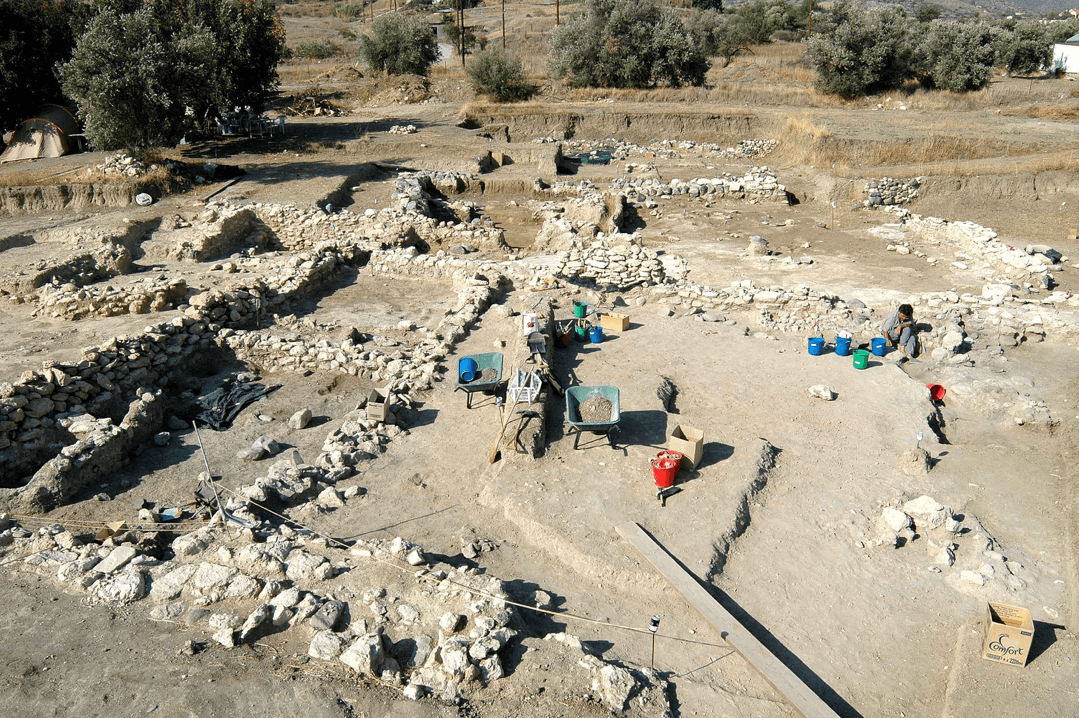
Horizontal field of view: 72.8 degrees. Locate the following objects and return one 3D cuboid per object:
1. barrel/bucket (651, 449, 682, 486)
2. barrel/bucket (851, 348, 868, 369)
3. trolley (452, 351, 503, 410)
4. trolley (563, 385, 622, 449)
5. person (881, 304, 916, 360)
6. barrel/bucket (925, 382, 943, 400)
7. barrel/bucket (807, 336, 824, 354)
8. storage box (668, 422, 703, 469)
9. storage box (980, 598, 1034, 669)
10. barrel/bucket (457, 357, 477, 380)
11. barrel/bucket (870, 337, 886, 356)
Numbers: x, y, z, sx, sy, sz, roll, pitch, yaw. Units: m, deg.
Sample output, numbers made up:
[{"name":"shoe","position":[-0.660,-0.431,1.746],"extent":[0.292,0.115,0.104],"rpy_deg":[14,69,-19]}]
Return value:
[{"name":"barrel/bucket","position":[2.390,2.079,13.969],"extent":[0.487,0.552,0.733],"rpy_deg":[12,27,26]},{"name":"barrel/bucket","position":[7.342,0.011,16.577],"extent":[0.388,0.378,0.446],"rpy_deg":[-2,9,-3]},{"name":"trolley","position":[-1.272,0.422,16.154],"extent":[0.983,0.665,1.234],"rpy_deg":[-3,42,1]},{"name":"trolley","position":[1.072,1.189,14.709],"extent":[1.106,1.003,1.124],"rpy_deg":[1,24,4]},{"name":"person","position":[8.577,-0.691,17.553],"extent":[0.801,1.231,0.841],"rpy_deg":[-21,27,-33]},{"name":"barrel/bucket","position":[8.715,0.734,16.130],"extent":[0.361,0.376,0.424],"rpy_deg":[-6,17,-2]},{"name":"barrel/bucket","position":[6.482,-0.308,17.186],"extent":[0.382,0.370,0.442],"rpy_deg":[-1,7,3]},{"name":"storage box","position":[2.897,1.710,14.510],"extent":[0.798,0.726,0.769],"rpy_deg":[14,21,14]},{"name":"storage box","position":[7.593,4.557,12.057],"extent":[0.889,0.598,0.832],"rpy_deg":[8,5,-17]},{"name":"barrel/bucket","position":[-1.609,0.237,16.184],"extent":[0.461,0.448,0.382],"rpy_deg":[6,8,-20]},{"name":"barrel/bucket","position":[7.937,-0.271,17.056],"extent":[0.373,0.391,0.439],"rpy_deg":[-1,9,4]}]
